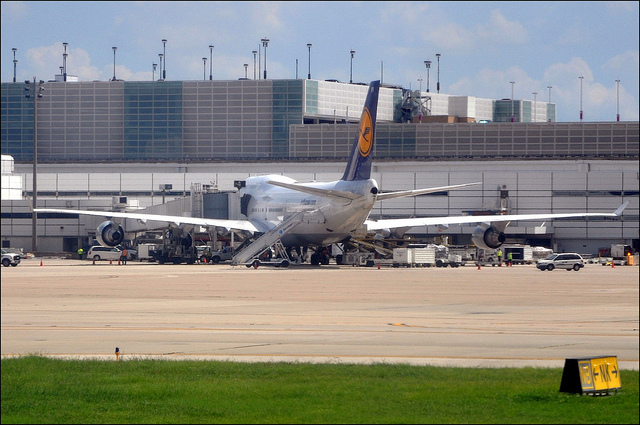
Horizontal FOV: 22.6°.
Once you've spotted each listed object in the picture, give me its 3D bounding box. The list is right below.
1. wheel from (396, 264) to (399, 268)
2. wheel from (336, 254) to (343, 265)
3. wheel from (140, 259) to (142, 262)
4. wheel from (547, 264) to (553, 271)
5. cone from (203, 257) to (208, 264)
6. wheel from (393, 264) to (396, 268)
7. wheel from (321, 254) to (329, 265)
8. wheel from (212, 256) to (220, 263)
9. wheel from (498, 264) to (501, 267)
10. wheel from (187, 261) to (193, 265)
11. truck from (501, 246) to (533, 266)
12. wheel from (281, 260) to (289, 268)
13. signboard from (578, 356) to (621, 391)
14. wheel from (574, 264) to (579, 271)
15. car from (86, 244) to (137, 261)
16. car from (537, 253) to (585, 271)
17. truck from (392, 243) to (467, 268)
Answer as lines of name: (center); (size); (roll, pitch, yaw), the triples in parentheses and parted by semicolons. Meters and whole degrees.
wheel: (6.933, 4.872, 148.490); (0.288, 0.300, 0.728); (-1, 12, -2)
wheel: (1.557, 4.403, 149.016); (0.446, 0.994, 0.722); (-3, 13, -8)
wheel: (-18.229, 4.790, 160.297); (0.242, 0.203, 0.223); (-4, 1, 0)
wheel: (20.681, 4.943, 145.813); (0.674, 0.556, 0.218); (1, 9, -8)
cone: (-11.450, 4.673, 155.907); (0.525, 0.427, 0.431); (0, 7, -5)
wheel: (6.632, 4.888, 148.347); (0.433, 0.342, 0.102); (0, -1, 34)
wheel: (0.159, 4.393, 149.709); (0.425, 0.982, 1.089); (1, -2, -18)
wheel: (-10.284, 4.527, 153.924); (0.664, 0.646, 0.504); (-1, 13, -3)
wheel: (16.891, 5.018, 153.374); (0.253, 0.128, 0.214); (-2, 3, -1)
wheel: (-12.822, 4.869, 154.481); (0.518, 0.161, 1.082); (-2, 12, -7)
truck: (19.309, 4.225, 158.361); (3.567, 2.073, 1.897); (-1, -3, 3)
wheel: (-3.433, 4.638, 145.823); (0.691, 0.567, 0.462); (-2, 13, -5)
signboard: (18.200, 10.568, 105.399); (2.618, 2.038, 0.795); (-3, 14, -11)
wheel: (23.215, 4.985, 146.675); (0.522, 0.453, 0.164); (-20, 21, -26)
car: (-21.319, 4.208, 161.777); (4.659, 1.304, 2.039); (-2, 1, 0)
car: (21.839, 4.549, 146.585); (3.979, 1.197, 1.706); (1, -2, -8)
truck: (9.820, 3.730, 149.100); (4.718, 1.497, 2.827); (1, -3, -15)
